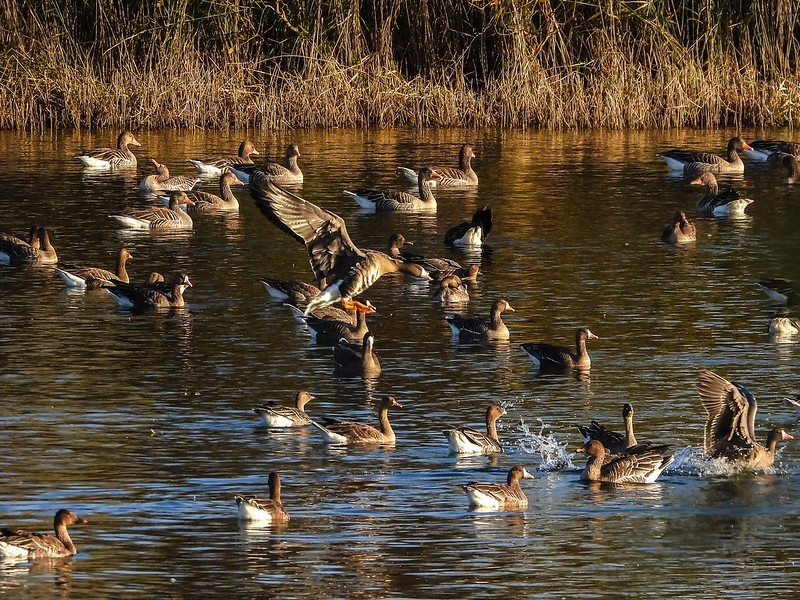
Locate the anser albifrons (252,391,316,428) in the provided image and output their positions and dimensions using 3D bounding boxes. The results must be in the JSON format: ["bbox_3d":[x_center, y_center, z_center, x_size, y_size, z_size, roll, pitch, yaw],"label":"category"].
[{"bbox_3d":[-1.859,1.656,22.778,0.945,0.577,0.450,3,12,-24],"label":"anser albifrons"}]

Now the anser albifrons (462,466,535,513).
[{"bbox_3d":[1.238,2.505,19.762,1.062,0.669,0.560,10,-11,-30],"label":"anser albifrons"}]

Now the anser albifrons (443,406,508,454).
[{"bbox_3d":[1.084,1.888,21.771,0.507,0.852,1.267,-14,-20,43],"label":"anser albifrons"}]

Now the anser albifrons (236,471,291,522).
[{"bbox_3d":[-1.812,2.512,19.207,0.429,0.686,0.999,-9,-16,27],"label":"anser albifrons"}]

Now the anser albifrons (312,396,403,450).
[{"bbox_3d":[-0.686,1.783,22.064,1.575,0.843,0.512,9,-10,-30],"label":"anser albifrons"}]
